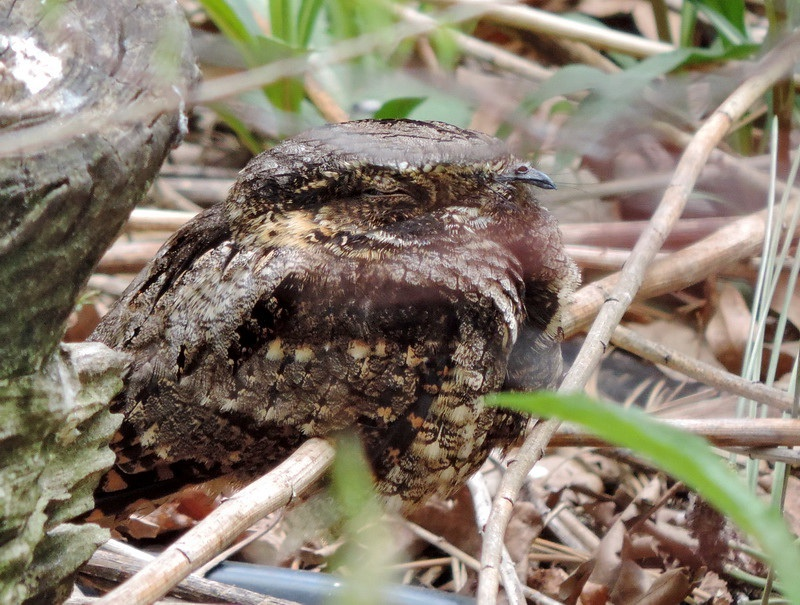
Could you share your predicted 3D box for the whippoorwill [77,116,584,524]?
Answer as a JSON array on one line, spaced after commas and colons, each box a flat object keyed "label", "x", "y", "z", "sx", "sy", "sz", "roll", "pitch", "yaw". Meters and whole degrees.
[{"label": "whippoorwill", "x": -0.123, "y": 0.047, "z": 2.198, "sx": 1.131, "sy": 0.723, "sz": 0.762, "roll": 2, "pitch": 61, "yaw": -4}]
